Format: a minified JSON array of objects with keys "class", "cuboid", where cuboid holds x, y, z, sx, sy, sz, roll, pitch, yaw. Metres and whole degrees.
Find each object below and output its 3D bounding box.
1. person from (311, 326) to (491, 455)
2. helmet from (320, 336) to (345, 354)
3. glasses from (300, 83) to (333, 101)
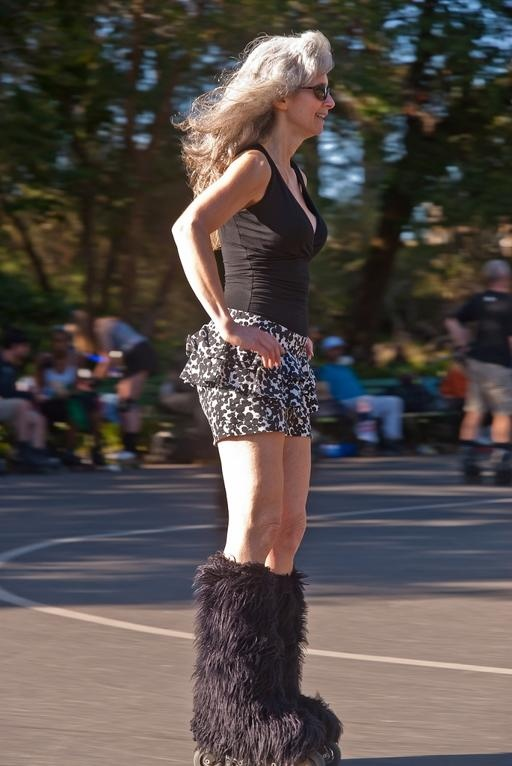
[{"class":"person","cuboid":[1.354,0.113,11.451,1.275,1.093,2.003,1,-10,-41]},{"class":"helmet","cuboid":[0.831,-0.421,10.745,0.235,0.128,0.206,0,-10,4]},{"class":"glasses","cuboid":[0.146,-0.712,2.422,0.065,0.021,0.053,2,-1,33]}]
